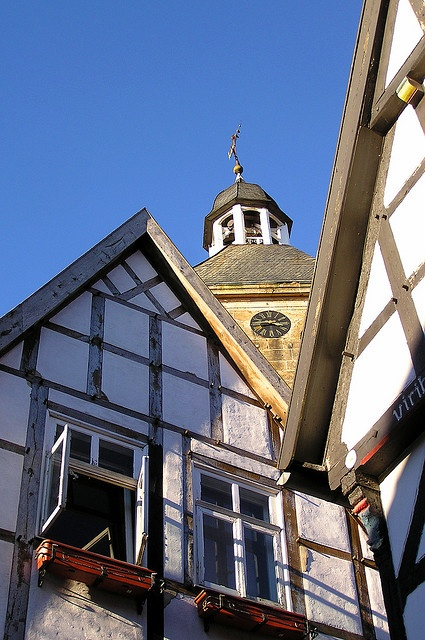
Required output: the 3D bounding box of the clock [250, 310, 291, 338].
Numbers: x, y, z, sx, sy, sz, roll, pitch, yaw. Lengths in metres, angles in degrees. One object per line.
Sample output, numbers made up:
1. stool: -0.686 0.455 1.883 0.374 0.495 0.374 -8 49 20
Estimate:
1. clock: 1.674 0.163 19.793 0.985 1.022 0.073 6 -55 2
